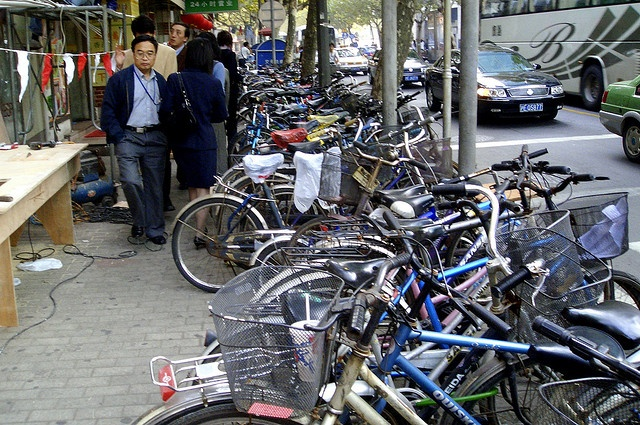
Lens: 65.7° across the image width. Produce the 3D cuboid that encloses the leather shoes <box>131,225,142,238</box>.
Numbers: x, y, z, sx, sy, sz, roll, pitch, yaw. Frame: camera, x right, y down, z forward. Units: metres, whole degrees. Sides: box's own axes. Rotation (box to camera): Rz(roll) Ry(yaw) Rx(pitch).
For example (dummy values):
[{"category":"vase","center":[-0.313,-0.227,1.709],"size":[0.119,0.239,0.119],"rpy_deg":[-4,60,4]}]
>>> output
[{"category":"leather shoes","center":[-2.415,0.252,6.600],"size":[0.146,0.134,0.141],"rpy_deg":[13,42,16]}]

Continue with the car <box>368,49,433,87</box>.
[{"category":"car","center":[4.025,-7.691,25.212],"size":[2.113,1.656,3.694],"rpy_deg":[-5,29,-8]}]

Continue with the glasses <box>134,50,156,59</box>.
[{"category":"glasses","center":[-2.119,-1.918,5.978],"size":[0.236,0.100,0.104],"rpy_deg":[-8,21,-18]}]
